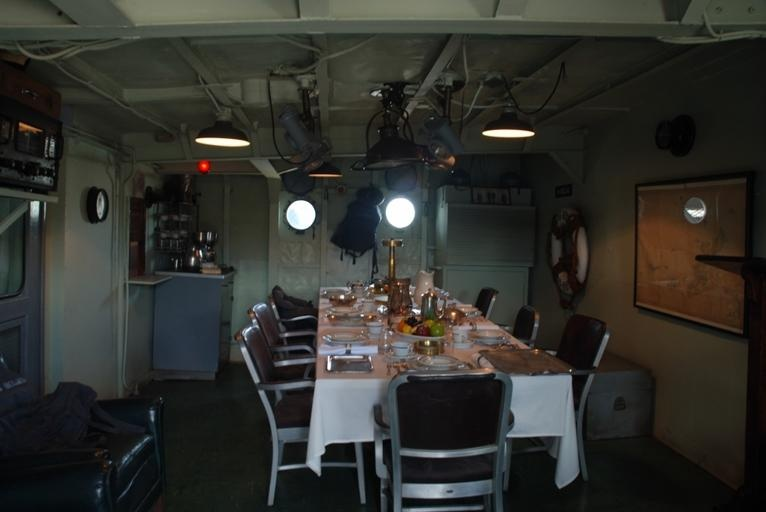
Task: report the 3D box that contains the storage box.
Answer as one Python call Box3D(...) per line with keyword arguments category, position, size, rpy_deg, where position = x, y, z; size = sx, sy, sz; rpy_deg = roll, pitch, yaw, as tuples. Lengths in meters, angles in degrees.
Box3D(category="storage box", position=(2.092, 1.225, 5.038), size=(0.607, 0.521, 0.817), rpy_deg=(0, 2, 2))

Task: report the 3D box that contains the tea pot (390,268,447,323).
Box3D(category="tea pot", position=(0.327, 0.331, 4.706), size=(0.430, 0.261, 0.424), rpy_deg=(0, -7, 0))

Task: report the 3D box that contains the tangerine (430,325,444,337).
Box3D(category="tangerine", position=(0.404, 0.546, 4.058), size=(0.084, 0.081, 0.083), rpy_deg=(-3, 6, 6))

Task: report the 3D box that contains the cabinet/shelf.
Box3D(category="cabinet/shelf", position=(-2.371, 0.886, 7.067), size=(0.792, 1.256, 1.401), rpy_deg=(1, -2, -7))
